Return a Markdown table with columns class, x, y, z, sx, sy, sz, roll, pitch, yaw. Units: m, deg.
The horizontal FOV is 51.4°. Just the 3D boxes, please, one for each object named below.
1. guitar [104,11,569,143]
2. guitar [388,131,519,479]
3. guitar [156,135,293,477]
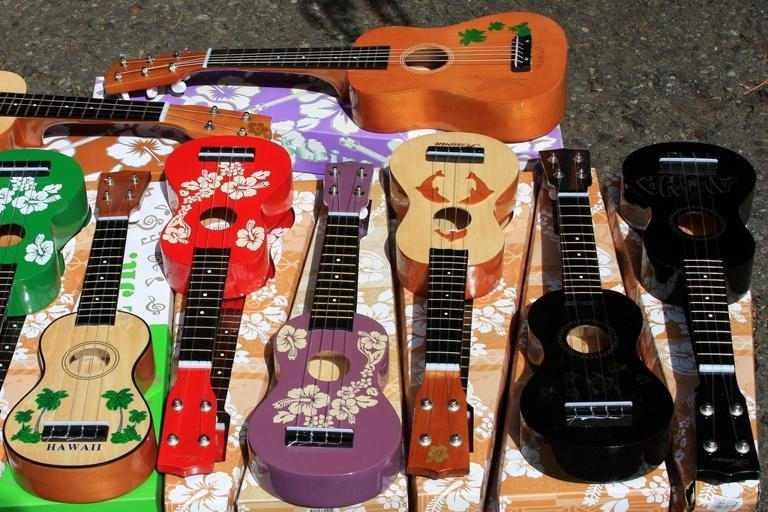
| class | x | y | z | sx | sy | sz | roll | pitch | yaw |
| --- | --- | --- | --- | --- | --- | --- | --- | --- | --- |
| guitar | -0.359 | -1.315 | 5.672 | 3.537 | 0.510 | 1.262 | -1 | 48 | 4 |
| guitar | 0.396 | 0.246 | 4.736 | 0.707 | 0.320 | 1.940 | 3 | 56 | 3 |
| guitar | -1.019 | 0.156 | 4.774 | 0.721 | 0.487 | 2.196 | 1 | 52 | -4 |
